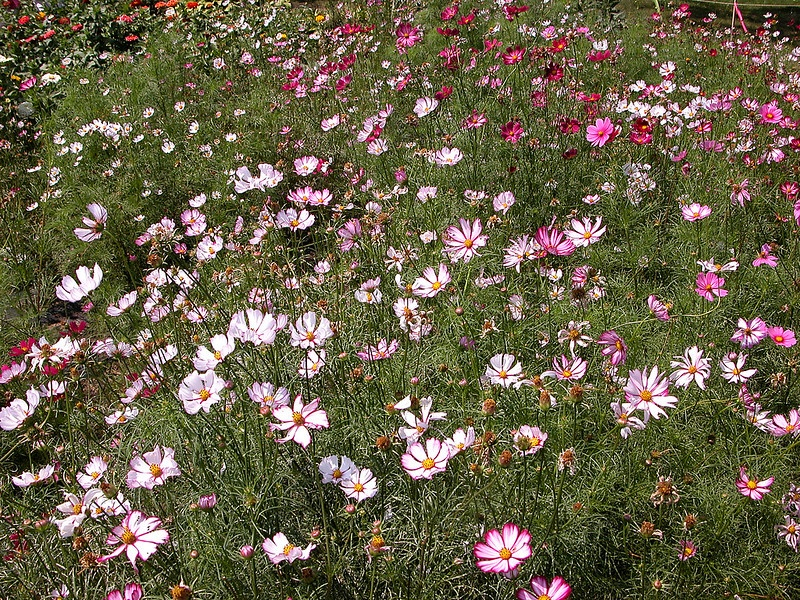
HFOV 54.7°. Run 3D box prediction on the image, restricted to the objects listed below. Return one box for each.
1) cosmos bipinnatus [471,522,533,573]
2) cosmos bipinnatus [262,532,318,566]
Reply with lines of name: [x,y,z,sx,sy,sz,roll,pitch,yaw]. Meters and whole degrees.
cosmos bipinnatus: [0.404,0.981,3.043,0.220,0.102,0.144,-14,47,9]
cosmos bipinnatus: [-0.452,0.968,3.150,0.153,0.173,0.069,14,91,32]
